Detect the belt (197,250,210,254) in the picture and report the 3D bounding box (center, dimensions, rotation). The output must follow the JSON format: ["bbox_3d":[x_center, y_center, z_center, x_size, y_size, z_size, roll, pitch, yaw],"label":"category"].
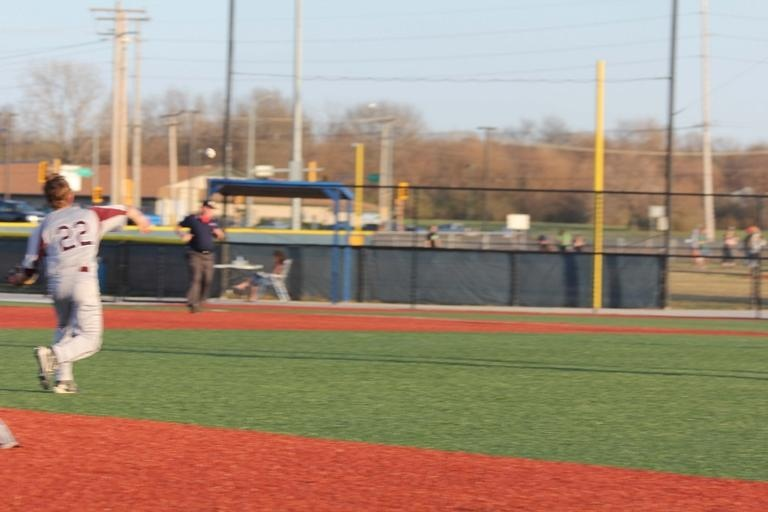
[{"bbox_3d":[-4.013,-0.098,35.833,0.249,0.069,0.073,-1,3,-41],"label":"belt"}]

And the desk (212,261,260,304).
[{"bbox_3d":[-3.576,0.508,39.739,1.431,0.839,1.127,1,5,-8],"label":"desk"}]

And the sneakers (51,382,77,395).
[{"bbox_3d":[-5.579,2.298,28.076,0.499,0.203,0.195,5,0,-5],"label":"sneakers"}]

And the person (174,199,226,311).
[{"bbox_3d":[-4.131,0.022,35.909,0.878,2.497,0.882,2,2,-5],"label":"person"}]
